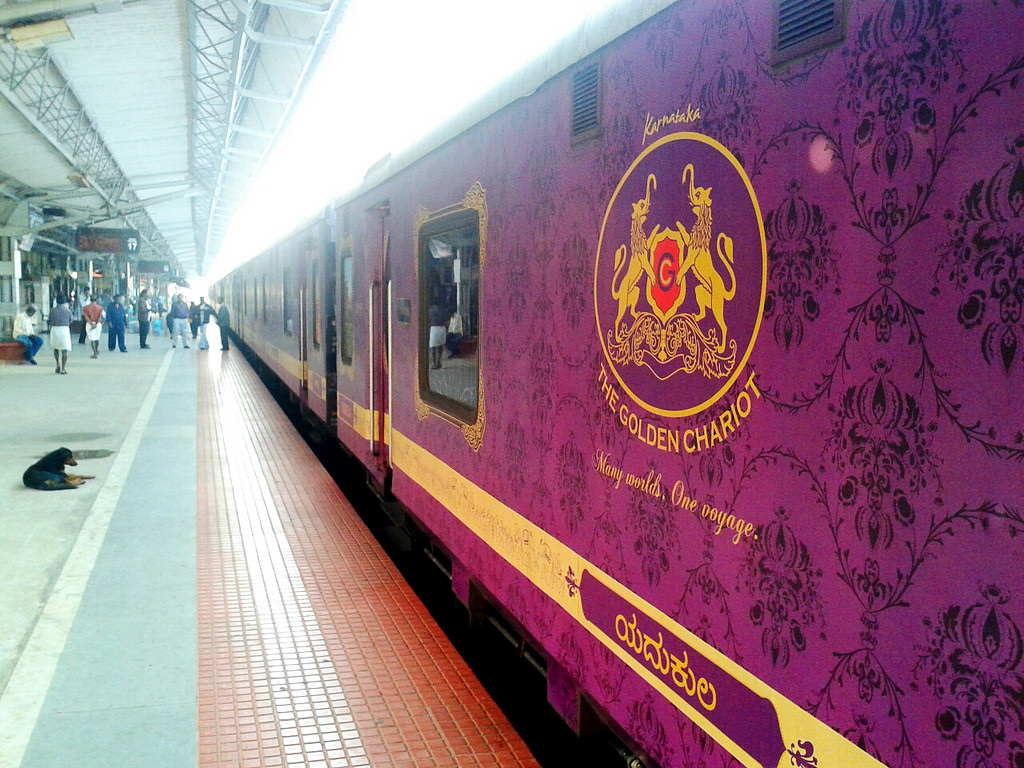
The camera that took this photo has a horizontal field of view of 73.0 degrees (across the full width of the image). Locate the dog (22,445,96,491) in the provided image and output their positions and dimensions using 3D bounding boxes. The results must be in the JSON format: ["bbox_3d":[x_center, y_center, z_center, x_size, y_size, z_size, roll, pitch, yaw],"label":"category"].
[{"bbox_3d":[-4.358,0.830,6.692,0.318,0.342,0.561,4,8,27],"label":"dog"}]
